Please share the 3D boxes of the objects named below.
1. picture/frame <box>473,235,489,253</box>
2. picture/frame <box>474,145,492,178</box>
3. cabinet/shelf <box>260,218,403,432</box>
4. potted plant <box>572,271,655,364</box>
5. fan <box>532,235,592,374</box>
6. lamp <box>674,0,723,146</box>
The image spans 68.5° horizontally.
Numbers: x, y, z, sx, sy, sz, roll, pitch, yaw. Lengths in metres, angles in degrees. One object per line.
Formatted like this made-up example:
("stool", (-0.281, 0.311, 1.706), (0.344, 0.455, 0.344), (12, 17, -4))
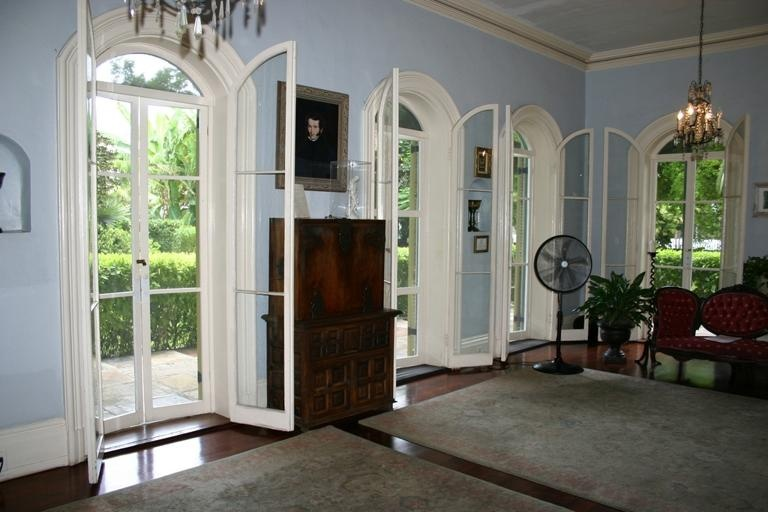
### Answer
("picture/frame", (1.185, -0.152, 6.955), (0.221, 0.204, 0.015), (-3, 5, -36))
("picture/frame", (1.218, -1.149, 6.934), (0.268, 0.386, 0.084), (-4, 9, -28))
("cabinet/shelf", (-0.379, 0.603, 5.334), (1.086, 1.932, 0.290), (-7, 11, -40))
("potted plant", (3.024, 0.719, 7.737), (1.161, 1.276, 1.022), (0, 2, 14))
("fan", (2.167, 0.580, 6.810), (0.543, 1.689, 0.834), (6, 10, 33))
("lamp", (4.042, -2.208, 7.200), (0.489, 1.792, 2.284), (5, 10, 28))
